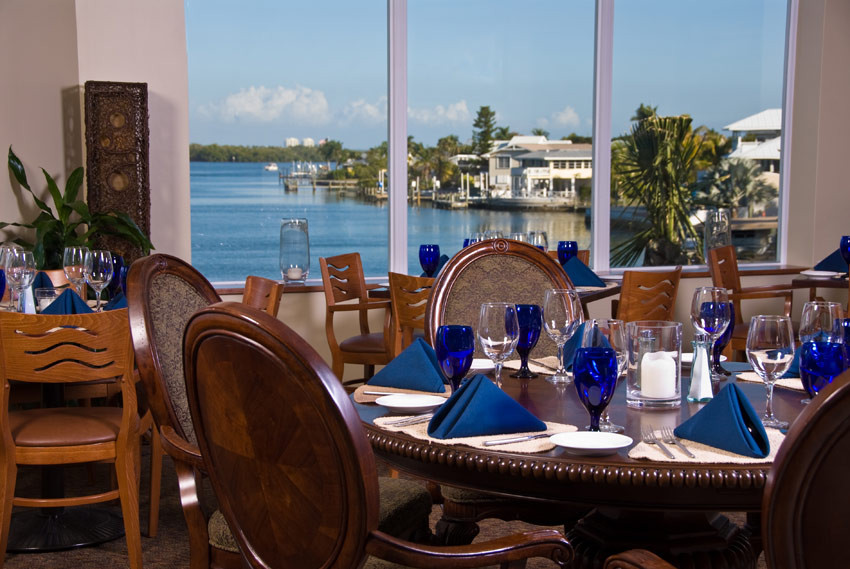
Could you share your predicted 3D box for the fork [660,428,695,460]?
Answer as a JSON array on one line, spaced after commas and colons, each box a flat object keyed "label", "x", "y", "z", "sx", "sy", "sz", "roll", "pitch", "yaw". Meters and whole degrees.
[{"label": "fork", "x": 0.628, "y": 0.392, "z": 2.031, "sx": 0.025, "sy": 0.018, "sz": 0.114, "roll": -11, "pitch": 32, "yaw": -2}]

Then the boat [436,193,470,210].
[{"label": "boat", "x": 0.822, "y": -2.446, "z": 24.310, "sx": 1.064, "sy": 0.501, "sz": 0.762, "roll": -3, "pitch": 6, "yaw": 0}]

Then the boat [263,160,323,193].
[{"label": "boat", "x": -4.415, "y": -3.646, "z": 27.792, "sx": 1.841, "sy": 1.040, "sz": 1.025, "roll": -4, "pitch": 7, "yaw": -11}]

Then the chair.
[{"label": "chair", "x": 0.003, "y": 0.370, "z": 2.186, "sx": 1.742, "sy": 0.915, "sz": 0.918, "roll": -2, "pitch": 7, "yaw": 7}]

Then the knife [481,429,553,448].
[{"label": "knife", "x": 0.229, "y": 0.392, "z": 2.064, "sx": 0.164, "sy": 0.025, "sz": 0.027, "roll": 1, "pitch": -38, "yaw": -22}]
